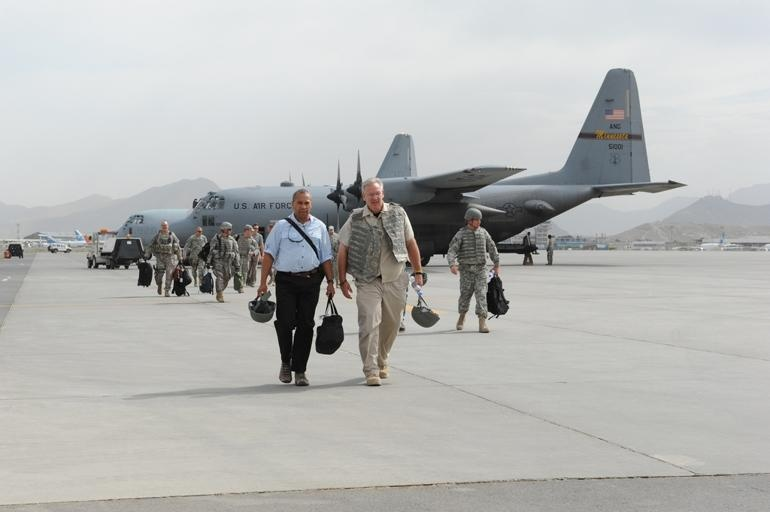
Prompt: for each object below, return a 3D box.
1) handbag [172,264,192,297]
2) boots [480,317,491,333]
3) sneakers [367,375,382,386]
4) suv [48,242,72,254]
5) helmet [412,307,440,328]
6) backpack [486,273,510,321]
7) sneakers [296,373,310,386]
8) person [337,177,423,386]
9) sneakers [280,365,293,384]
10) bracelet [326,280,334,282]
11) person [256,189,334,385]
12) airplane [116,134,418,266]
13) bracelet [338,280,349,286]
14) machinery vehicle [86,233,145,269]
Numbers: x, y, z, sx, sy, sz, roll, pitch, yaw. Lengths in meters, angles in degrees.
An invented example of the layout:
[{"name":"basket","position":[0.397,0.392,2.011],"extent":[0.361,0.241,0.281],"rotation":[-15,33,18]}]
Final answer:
[{"name":"handbag","position":[-5.207,0.623,19.721],"extent":[0.400,0.821,0.504],"rotation":[-1,7,-14]},{"name":"boots","position":[1.752,1.203,13.539],"extent":[0.177,0.256,0.281],"rotation":[1,6,6]},{"name":"sneakers","position":[-0.136,1.541,9.479],"extent":[0.116,0.116,0.288],"rotation":[0,-7,-6]},{"name":"suv","position":[-39.564,-1.005,93.609],"extent":[2.374,0.960,1.452],"rotation":[-1,3,-4]},{"name":"helmet","position":[0.573,0.889,11.507],"extent":[0.339,0.241,0.389],"rotation":[22,-15,-8]},{"name":"backpack","position":[2.014,0.643,13.668],"extent":[0.468,0.783,0.407],"rotation":[-4,4,-17]},{"name":"sneakers","position":[-1.031,1.542,9.562],"extent":[0.136,0.133,0.367],"rotation":[0,-6,-8]},{"name":"person","position":[-0.162,0.284,9.997],"extent":[0.856,2.574,1.242],"rotation":[4,8,32]},{"name":"sneakers","position":[-1.233,1.501,9.625],"extent":[0.106,0.266,0.112],"rotation":[4,-19,-10]},{"name":"bracelet","position":[-0.699,0.326,9.905],"extent":[0.080,0.034,0.062],"rotation":[0,3,-10]},{"name":"person","position":[-1.053,0.373,9.756],"extent":[0.856,2.378,0.835],"rotation":[-2,7,-18]},{"name":"airplane","position":[-1.701,-2.960,35.324],"extent":[10.323,3.385,9.428],"rotation":[-12,5,-42]},{"name":"bracelet","position":[-0.547,0.344,9.952],"extent":[0.143,0.060,0.169],"rotation":[0,-2,-7]},{"name":"machinery vehicle","position":[-12.398,-0.225,35.556],"extent":[1.976,1.764,5.110],"rotation":[0,2,-26]}]
